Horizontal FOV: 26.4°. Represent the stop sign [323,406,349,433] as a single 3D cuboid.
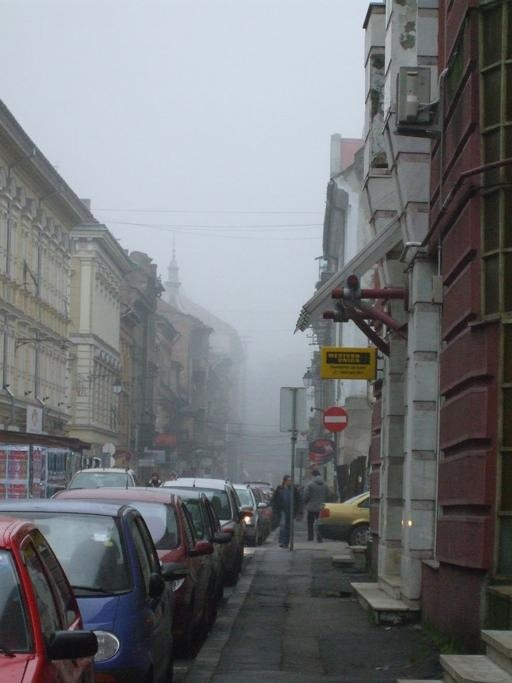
[{"bbox_3d":[1.814,1.782,25.258,0.517,0.608,1.493,-2,-9,3],"label":"stop sign"}]
